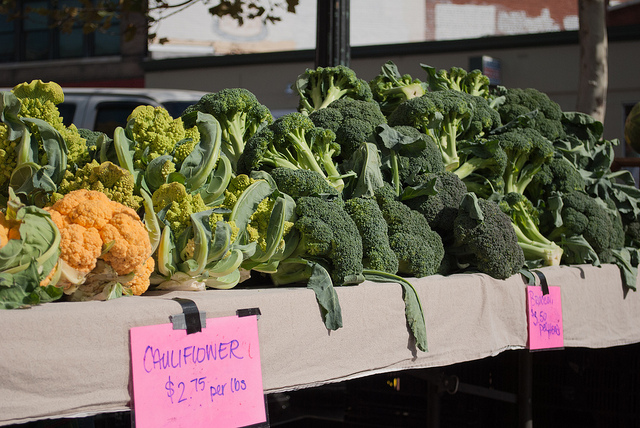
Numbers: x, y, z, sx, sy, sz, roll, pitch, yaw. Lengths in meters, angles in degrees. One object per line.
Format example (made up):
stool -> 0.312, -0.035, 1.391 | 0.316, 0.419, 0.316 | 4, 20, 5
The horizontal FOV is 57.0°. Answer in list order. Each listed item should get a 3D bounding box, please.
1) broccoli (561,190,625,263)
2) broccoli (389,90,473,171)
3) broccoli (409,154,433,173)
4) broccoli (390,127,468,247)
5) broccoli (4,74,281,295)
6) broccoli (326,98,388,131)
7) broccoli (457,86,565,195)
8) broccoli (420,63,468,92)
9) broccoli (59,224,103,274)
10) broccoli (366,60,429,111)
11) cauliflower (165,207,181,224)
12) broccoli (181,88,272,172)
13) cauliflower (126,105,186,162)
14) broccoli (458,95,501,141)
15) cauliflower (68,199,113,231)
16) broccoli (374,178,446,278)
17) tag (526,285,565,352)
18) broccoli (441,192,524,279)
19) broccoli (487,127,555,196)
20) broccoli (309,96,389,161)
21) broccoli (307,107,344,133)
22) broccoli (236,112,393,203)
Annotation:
broccoli -> 1.493, 0.053, 3.288 | 0.258, 0.377, 0.371 | -46, -7, 14
broccoli -> 0.615, -0.461, 3.245 | 0.385, 0.459, 0.383 | -7, -17, 24
broccoli -> 0.503, -0.227, 2.947 | 0.095, 0.044, 0.093 | 37, 50, 8
broccoli -> 0.452, -0.188, 2.968 | 0.267, 0.571, 0.406 | -25, -38, 1
broccoli -> -0.863, 0.058, 2.523 | 0.916, 0.908, 0.464 | -4, -41, -33
broccoli -> 0.175, -0.502, 2.994 | 0.190, 0.138, 0.134 | 6, -34, 3
broccoli -> 1.130, -0.413, 3.518 | 0.656, 0.861, 0.637 | 0, 4, 19
broccoli -> 0.743, -0.859, 3.786 | 0.270, 0.258, 0.394 | 0, -12, 9
broccoli -> -0.795, 0.112, 1.963 | 0.142, 0.152, 0.140 | 9, 7, 44
broccoli -> 0.479, -0.716, 3.573 | 0.331, 0.338, 0.154 | 33, -19, 26
cauliflower -> -0.544, 0.005, 2.199 | 0.029, 0.047, 0.055 | 21, 29, 21
broccoli -> -0.413, -0.409, 2.750 | 0.332, 0.348, 0.326 | -26, -12, -19
cauliflower -> -0.669, -0.333, 2.407 | 0.238, 0.236, 0.193 | -1, 2, -13
broccoli -> 0.910, -0.541, 3.455 | 0.244, 0.210, 0.289 | -10, -15, -6
cauliflower -> -0.773, 0.001, 2.007 | 0.107, 0.046, 0.108 | 12, 38, -17
broccoli -> 0.387, 0.078, 2.660 | 0.152, 0.436, 0.299 | -33, 1, 35
tag -> 1.078, 0.503, 2.841 | 0.299, 0.404, 0.053 | -2, -2, -25
broccoli -> 0.779, 0.112, 2.856 | 0.272, 0.501, 0.368 | -1, -1, 12
broccoli -> 1.160, -0.295, 3.384 | 0.340, 0.446, 0.412 | 4, -4, 35
broccoli -> 0.146, -0.485, 2.992 | 0.345, 0.215, 0.305 | 16, 34, 28
broccoli -> 0.036, -0.486, 2.924 | 0.136, 0.081, 0.129 | 20, 35, 20
broccoli -> -0.079, -0.241, 2.736 | 0.506, 0.438, 0.645 | -5, 0, 43
